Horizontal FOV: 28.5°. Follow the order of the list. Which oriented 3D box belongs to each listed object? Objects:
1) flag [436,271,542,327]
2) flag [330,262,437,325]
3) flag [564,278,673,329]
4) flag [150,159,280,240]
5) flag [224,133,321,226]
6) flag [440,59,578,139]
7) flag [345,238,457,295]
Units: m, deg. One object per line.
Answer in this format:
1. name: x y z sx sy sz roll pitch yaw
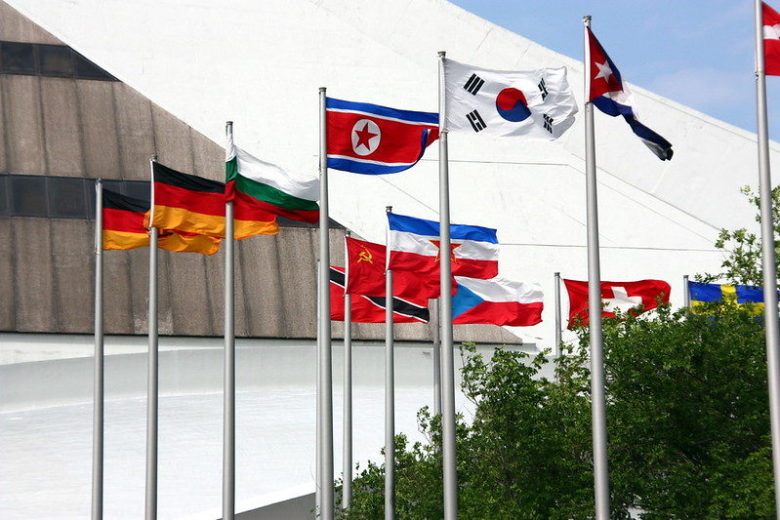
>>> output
1. flag: 3.398 1.356 50.129 3.008 1.468 0.995 3 -10 -23
2. flag: -0.291 1.020 50.874 3.565 2.244 0.341 3 -26 -15
3. flag: 7.900 1.372 53.602 3.463 1.913 0.777 -5 27 -19
4. flag: -5.275 -1.766 46.879 3.130 1.830 0.530 12 -25 -14
5. flag: -3.520 -2.380 46.215 2.743 2.256 0.577 2 -10 -14
6. flag: 3.339 -4.627 43.985 3.644 2.195 0.550 0 -10 -3
7. flag: 0.326 0.223 47.510 1.730 1.450 4.128 -4 6 -22
